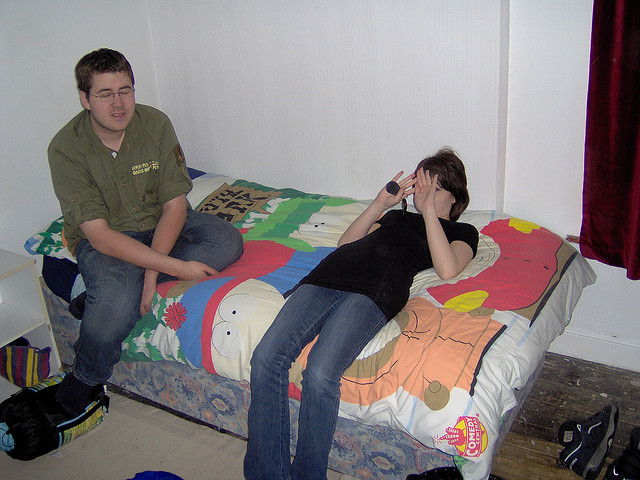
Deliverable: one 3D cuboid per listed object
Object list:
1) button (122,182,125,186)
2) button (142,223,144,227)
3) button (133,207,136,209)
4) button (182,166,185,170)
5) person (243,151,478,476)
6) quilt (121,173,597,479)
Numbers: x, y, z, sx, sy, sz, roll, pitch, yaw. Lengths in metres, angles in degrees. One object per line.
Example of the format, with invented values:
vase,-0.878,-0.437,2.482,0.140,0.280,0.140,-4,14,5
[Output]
button,-0.918,-0.256,1.999,0.012,0.016,0.004,13,9,19
button,-0.858,-0.068,2.071,0.010,0.017,0.006,-1,5,15
button,-0.889,-0.149,2.046,0.006,0.009,0.002,-22,-4,-20
button,-0.675,-0.348,2.110,0.005,0.018,0.012,-3,3,44
person,0.270,0.178,2.108,0.609,0.803,1.797,10,47,39
quilt,0.155,0.482,2.187,1.798,0.511,1.313,14,67,18
